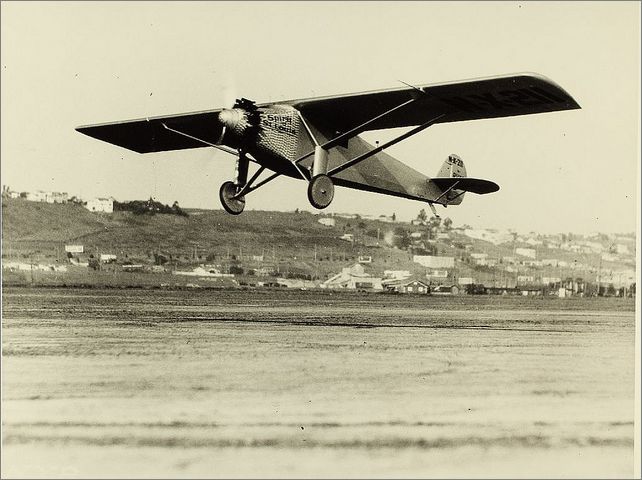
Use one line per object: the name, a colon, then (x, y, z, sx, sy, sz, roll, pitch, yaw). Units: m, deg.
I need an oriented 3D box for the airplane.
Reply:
airplane: (0.131, -2.904, 31.354, 13.352, 4.305, 5.309, 5, 11, 7)
